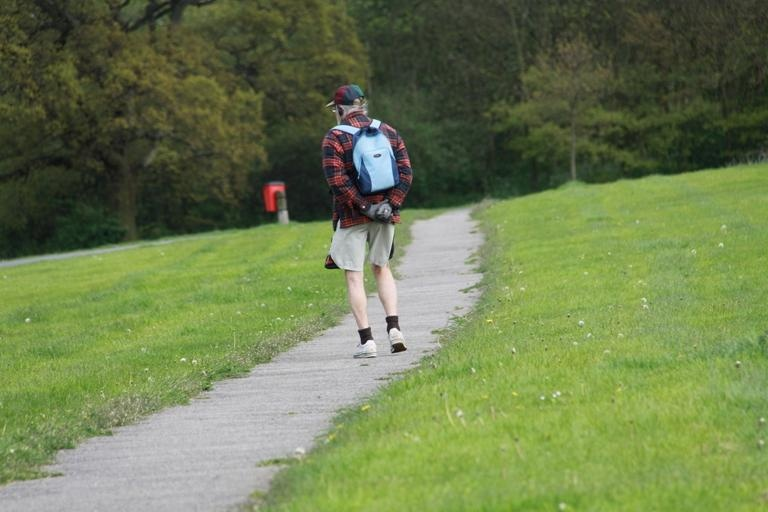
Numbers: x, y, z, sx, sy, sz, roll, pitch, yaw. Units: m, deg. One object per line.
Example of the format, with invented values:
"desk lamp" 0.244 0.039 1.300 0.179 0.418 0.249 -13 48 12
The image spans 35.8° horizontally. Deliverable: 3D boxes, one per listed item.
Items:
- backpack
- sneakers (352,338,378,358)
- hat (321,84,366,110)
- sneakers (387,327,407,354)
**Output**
"backpack" -0.273 -1.317 15.883 0.742 0.929 0.476 -15 3 -32
"sneakers" -0.230 1.226 15.954 0.148 0.186 0.374 -2 1 -23
"hat" -0.526 -2.209 16.174 0.490 0.289 0.354 -2 14 15
"sneakers" 0.178 1.091 15.955 0.150 0.196 0.398 -13 -23 -5
